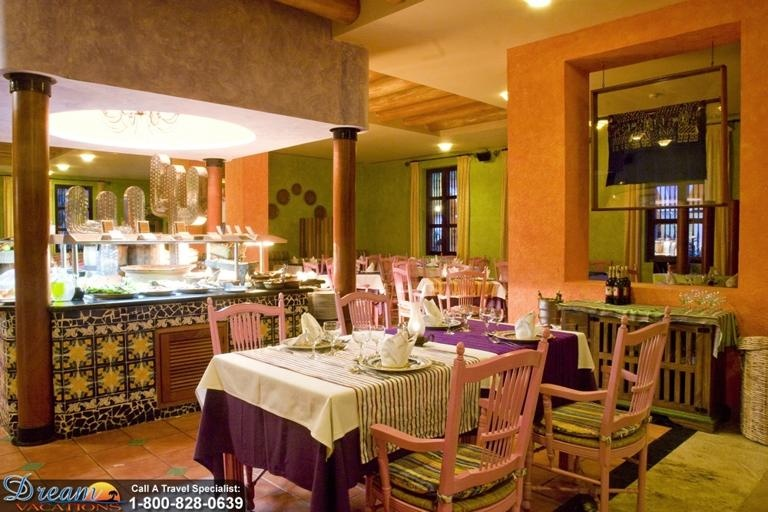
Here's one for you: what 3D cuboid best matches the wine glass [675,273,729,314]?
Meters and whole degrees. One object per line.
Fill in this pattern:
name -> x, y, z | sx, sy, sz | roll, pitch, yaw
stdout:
wine glass -> 3.245, 0.364, 5.809 | 0.406, 0.173, 0.620 | 2, 12, 26

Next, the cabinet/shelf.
cabinet/shelf -> 2.340, 0.971, 4.948 | 1.249, 0.856, 0.454 | 3, 4, 33

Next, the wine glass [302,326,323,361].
wine glass -> -0.536, 0.652, 4.357 | 0.182, 0.284, 0.180 | -1, -7, -1

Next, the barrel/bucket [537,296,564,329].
barrel/bucket -> 1.589, 0.536, 5.446 | 0.256, 0.364, 0.275 | -2, 1, 0
